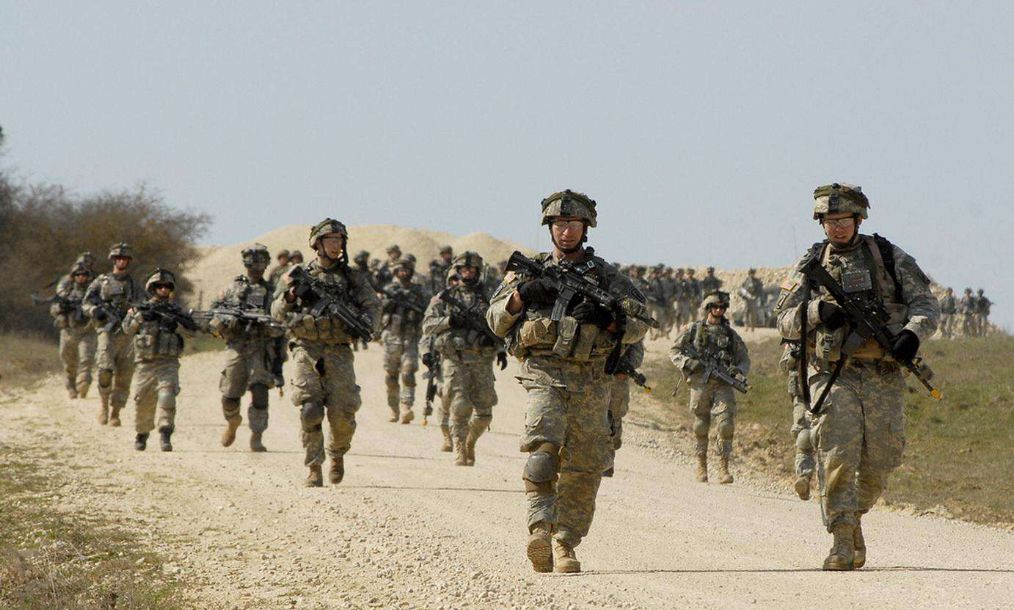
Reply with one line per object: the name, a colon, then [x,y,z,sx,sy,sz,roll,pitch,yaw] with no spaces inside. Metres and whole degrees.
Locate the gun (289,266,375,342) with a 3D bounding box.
gun: [-3.055,0.043,23.212,1.562,0.669,0.281,38,-17,4]

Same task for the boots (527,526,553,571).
boots: [0.494,3.641,20.257,0.298,0.727,0.357,-1,-3,1]

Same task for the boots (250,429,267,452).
boots: [-4.753,2.610,25.992,0.311,0.390,0.304,3,6,-9]

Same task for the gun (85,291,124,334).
gun: [-8.345,0.145,28.232,1.066,0.488,0.174,37,-14,23]

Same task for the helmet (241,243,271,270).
helmet: [-4.907,-0.973,26.594,0.556,0.416,0.233,-9,17,-10]

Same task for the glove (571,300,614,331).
glove: [1.321,0.184,20.664,0.632,0.400,0.153,4,6,-1]

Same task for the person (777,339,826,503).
person: [5.318,2.218,24.484,0.579,3.257,1.211,-2,4,-10]

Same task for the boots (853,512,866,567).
boots: [5.460,3.713,21.034,0.213,0.806,0.453,6,6,16]

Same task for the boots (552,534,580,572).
boots: [0.897,3.797,20.470,0.361,0.439,0.472,2,6,-17]

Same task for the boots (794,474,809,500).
boots: [5.576,3.484,25.670,0.238,0.672,0.300,1,38,5]

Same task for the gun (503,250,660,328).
gun: [1.040,-0.081,20.889,2.333,0.851,0.315,21,-1,-29]

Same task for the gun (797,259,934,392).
gun: [5.525,0.303,21.013,2.725,1.044,0.295,45,9,9]

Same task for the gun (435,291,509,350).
gun: [-0.658,0.350,24.464,1.305,0.505,0.218,37,-29,14]

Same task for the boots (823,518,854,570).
boots: [5.125,3.695,20.875,0.458,0.777,0.449,6,6,14]

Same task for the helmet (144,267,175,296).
helmet: [-6.772,-0.424,26.554,0.441,0.358,0.578,1,-24,-13]

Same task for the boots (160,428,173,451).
boots: [-6.438,2.541,25.656,0.236,0.424,0.416,3,6,-14]

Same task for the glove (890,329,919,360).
glove: [6.072,0.610,20.743,0.363,0.481,0.180,20,4,2]

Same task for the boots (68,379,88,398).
boots: [-9.736,1.945,30.555,0.268,0.406,1.084,19,-16,-20]

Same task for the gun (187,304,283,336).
gun: [-5.110,0.307,25.829,1.894,0.644,0.257,6,-17,8]

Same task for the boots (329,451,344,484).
boots: [-2.958,2.861,23.583,0.191,0.522,0.227,-2,-3,-7]
